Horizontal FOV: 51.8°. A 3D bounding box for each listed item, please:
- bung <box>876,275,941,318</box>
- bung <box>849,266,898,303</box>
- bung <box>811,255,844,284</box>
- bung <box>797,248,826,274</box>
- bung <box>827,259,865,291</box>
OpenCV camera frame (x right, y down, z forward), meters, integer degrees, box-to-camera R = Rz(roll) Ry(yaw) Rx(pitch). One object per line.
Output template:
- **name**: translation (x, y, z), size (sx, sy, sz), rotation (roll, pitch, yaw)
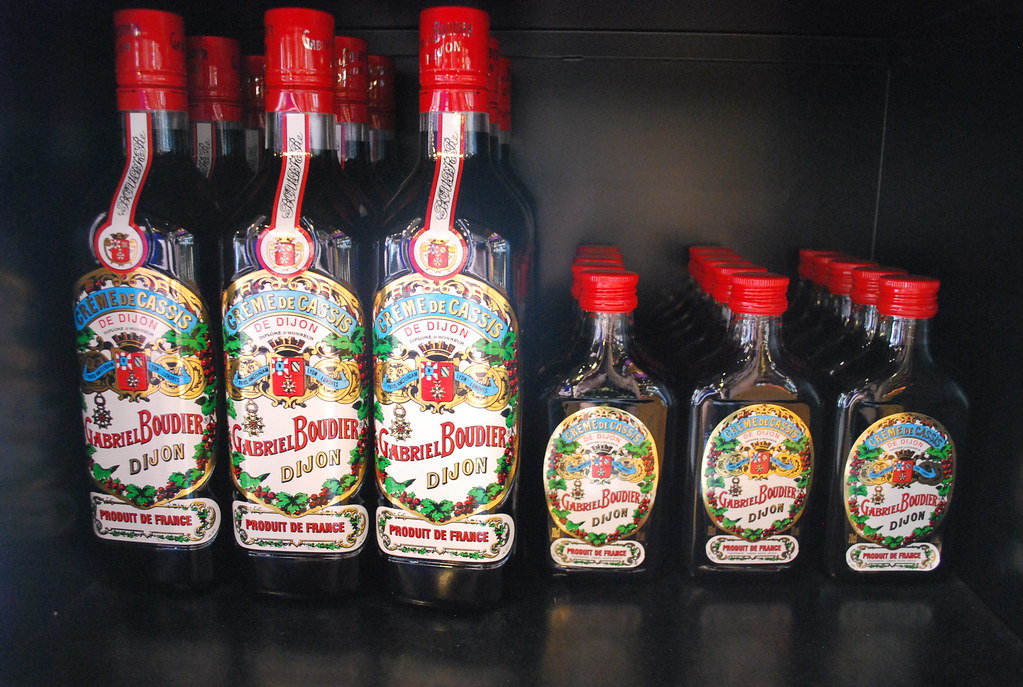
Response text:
- **bung**: translation (0.540, -0.065, 1.444), size (0.083, 0.048, 0.085), rotation (9, 13, 37)
- **bung**: translation (0.504, -0.084, 1.470), size (0.058, 0.036, 0.054), rotation (0, 8, 3)
- **bung**: translation (0.482, -0.114, 1.611), size (0.049, 0.036, 0.046), rotation (-1, 12, 4)
- **bung**: translation (0.475, -0.132, 1.661), size (0.046, 0.029, 0.043), rotation (-1, 12, 3)
- **bung**: translation (0.493, -0.102, 1.550), size (0.050, 0.037, 0.046), rotation (0, 10, 3)
